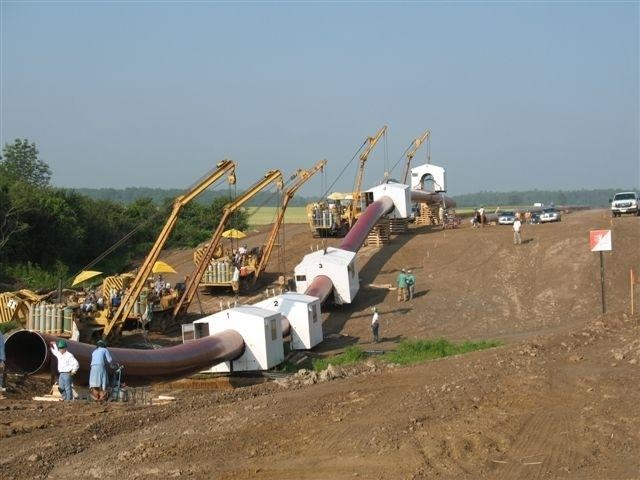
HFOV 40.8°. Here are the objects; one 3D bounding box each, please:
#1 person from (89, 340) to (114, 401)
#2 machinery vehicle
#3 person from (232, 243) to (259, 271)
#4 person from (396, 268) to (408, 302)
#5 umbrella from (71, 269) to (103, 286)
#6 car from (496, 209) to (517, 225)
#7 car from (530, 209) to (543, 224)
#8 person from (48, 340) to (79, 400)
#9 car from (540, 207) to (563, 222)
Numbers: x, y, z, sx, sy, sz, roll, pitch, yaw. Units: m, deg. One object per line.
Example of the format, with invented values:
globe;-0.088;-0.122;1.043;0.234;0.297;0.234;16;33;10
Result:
person;-7.317;4.342;28.731;0.783;2.025;0.978;-6;6;-19
machinery vehicle;-3.504;1.340;50.124;3.714;8.552;29.720;1;23;21
person;-4.286;0.991;50.930;1.213;0.773;1.745;1;-15;-3
person;4.199;2.278;43.364;0.531;1.501;1.374;-3;6;14
umbrella;-14.654;2.439;54.355;1.340;0.657;1.942;-20;3;1
car;14.993;-1.900;69.168;1.151;0.957;2.753;-1;0;10
car;17.288;-1.803;68.543;0.873;0.959;1.611;-1;1;7
person;-8.416;4.374;28.782;0.696;2.004;1.215;-7;6;-24
car;17.547;-1.847;64.957;0.857;0.737;2.109;1;9;22
